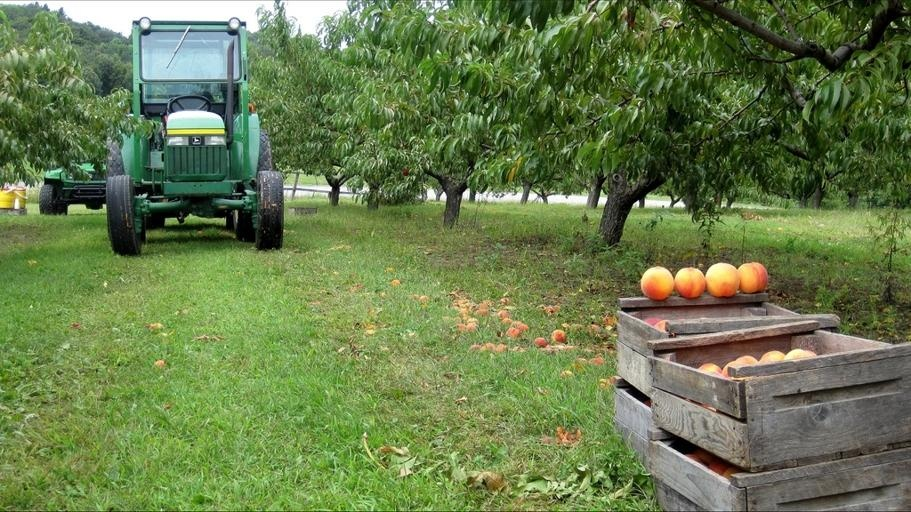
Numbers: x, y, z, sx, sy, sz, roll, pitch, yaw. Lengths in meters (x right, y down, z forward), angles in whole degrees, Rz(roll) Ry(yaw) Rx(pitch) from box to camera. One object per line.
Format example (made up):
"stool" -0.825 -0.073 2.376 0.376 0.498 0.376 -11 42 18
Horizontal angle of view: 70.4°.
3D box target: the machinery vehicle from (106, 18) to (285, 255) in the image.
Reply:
"machinery vehicle" -5.842 -2.733 14.472 3.660 4.678 8.120 -1 2 -19

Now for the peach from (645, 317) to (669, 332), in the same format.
"peach" 2.069 0.692 6.647 0.144 0.140 0.142 -6 3 -21

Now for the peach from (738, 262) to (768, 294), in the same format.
"peach" 3.295 0.221 7.145 0.321 0.337 0.338 3 6 31

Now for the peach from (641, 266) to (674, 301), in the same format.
"peach" 2.153 0.257 7.005 0.348 0.363 0.358 -8 11 -33

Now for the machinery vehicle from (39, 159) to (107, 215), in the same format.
"machinery vehicle" -13.066 -2.314 21.951 2.338 1.740 1.303 6 10 27

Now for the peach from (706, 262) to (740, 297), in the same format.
"peach" 2.913 0.198 7.074 0.338 0.392 0.339 -1 28 22
